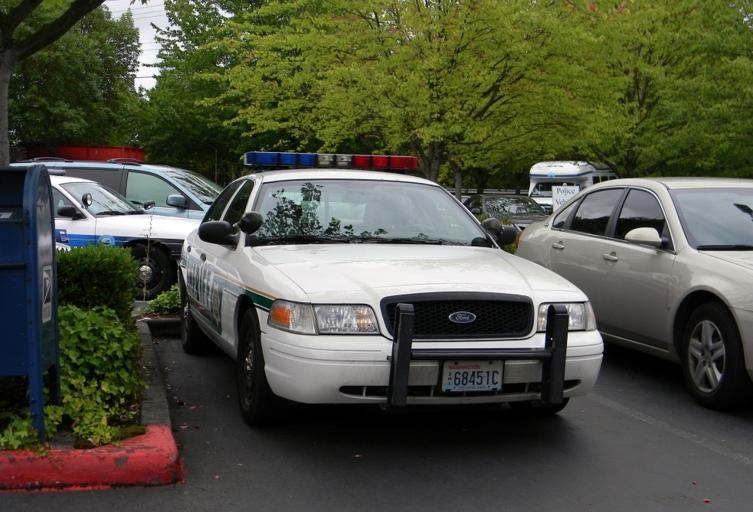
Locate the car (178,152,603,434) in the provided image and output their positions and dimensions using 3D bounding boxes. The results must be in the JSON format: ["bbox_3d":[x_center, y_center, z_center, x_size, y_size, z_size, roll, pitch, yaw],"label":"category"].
[{"bbox_3d":[-0.170,0.243,5.459,2.319,2.263,3.837,-2,6,-37],"label":"car"}]
